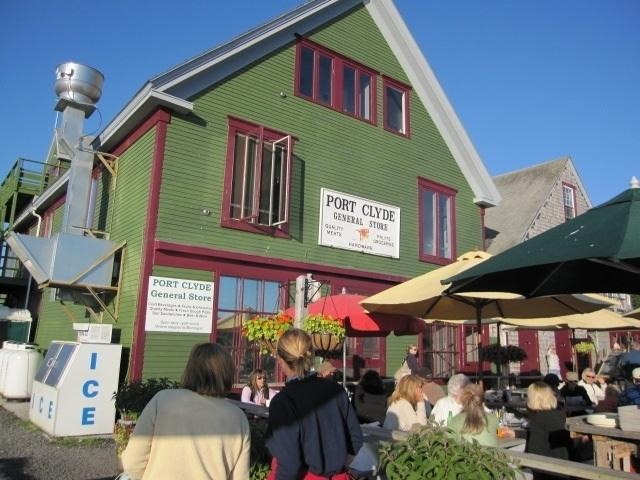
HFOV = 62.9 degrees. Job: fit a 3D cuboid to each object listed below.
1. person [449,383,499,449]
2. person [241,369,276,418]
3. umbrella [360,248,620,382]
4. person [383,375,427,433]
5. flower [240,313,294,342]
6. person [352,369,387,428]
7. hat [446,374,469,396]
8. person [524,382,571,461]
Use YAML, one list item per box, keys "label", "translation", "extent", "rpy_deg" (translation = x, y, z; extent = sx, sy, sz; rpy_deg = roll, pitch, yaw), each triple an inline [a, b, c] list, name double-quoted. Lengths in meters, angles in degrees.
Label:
- label: "person"
  translation: [1.702, 1.973, 5.806]
  extent: [0.493, 0.517, 1.078]
  rpy_deg: [-6, -17, 21]
- label: "person"
  translation: [-1.010, 2.658, 9.040]
  extent: [0.659, 0.807, 0.595]
  rpy_deg: [-1, 0, -31]
- label: "umbrella"
  translation: [2.849, 1.106, 9.193]
  extent: [2.798, 1.302, 2.946]
  rpy_deg: [-9, -12, 38]
- label: "person"
  translation: [1.156, 2.158, 6.997]
  extent: [0.580, 0.684, 0.407]
  rpy_deg: [3, -17, -5]
- label: "flower"
  translation: [-0.893, 1.431, 8.783]
  extent: [0.921, 0.342, 0.869]
  rpy_deg: [0, -5, -7]
- label: "person"
  translation: [0.890, 2.386, 8.107]
  extent: [0.625, 0.861, 0.706]
  rpy_deg: [-1, -9, 12]
- label: "hat"
  translation: [1.834, 1.987, 7.174]
  extent: [0.270, 0.288, 0.316]
  rpy_deg: [2, -25, -12]
- label: "person"
  translation: [2.834, 2.259, 6.577]
  extent: [0.525, 0.905, 0.443]
  rpy_deg: [-6, -19, 22]
